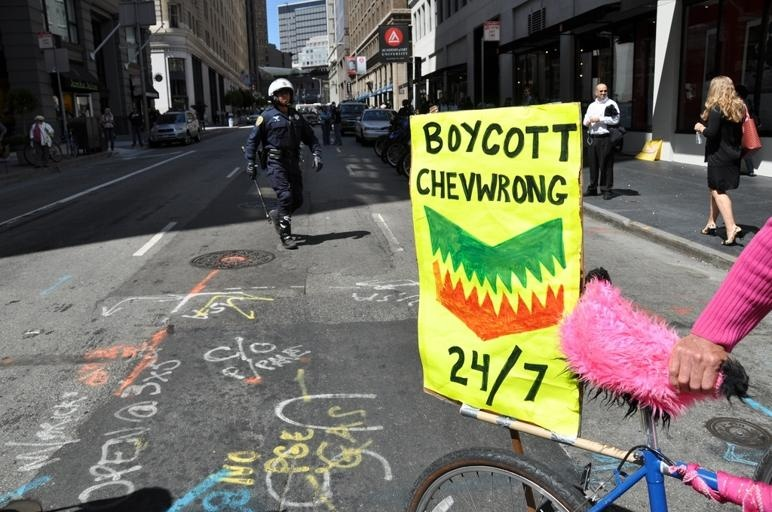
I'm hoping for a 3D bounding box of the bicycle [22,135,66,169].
[{"bbox_3d":[-13.952,-4.409,22.986,1.088,1.272,2.070,8,12,37],"label":"bicycle"}]

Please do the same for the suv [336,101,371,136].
[{"bbox_3d":[-2.562,-10.542,39.915,1.834,1.767,3.976,-3,24,-8],"label":"suv"}]

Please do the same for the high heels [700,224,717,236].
[{"bbox_3d":[5.110,-0.413,8.583,0.129,0.154,0.228,-3,1,41],"label":"high heels"}]

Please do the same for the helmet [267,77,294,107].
[{"bbox_3d":[-1.640,-2.763,8.905,0.414,0.469,0.479,-4,0,-33],"label":"helmet"}]

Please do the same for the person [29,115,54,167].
[{"bbox_3d":[-13.996,-4.742,22.141,0.778,2.012,1.190,-11,23,-29],"label":"person"}]

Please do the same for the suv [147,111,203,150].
[{"bbox_3d":[-13.736,-8.489,35.465,2.190,1.820,4.054,0,8,6],"label":"suv"}]
